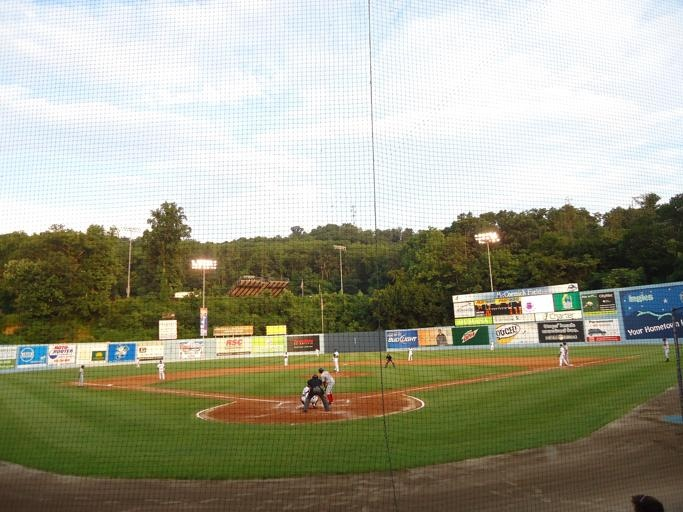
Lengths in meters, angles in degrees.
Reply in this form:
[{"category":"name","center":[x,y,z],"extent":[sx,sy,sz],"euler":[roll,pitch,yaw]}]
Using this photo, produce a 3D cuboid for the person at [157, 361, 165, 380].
[{"category":"person","center":[-9.521,6.010,37.587],"extent":[0.370,1.154,1.776],"euler":[-3,4,-16]}]
